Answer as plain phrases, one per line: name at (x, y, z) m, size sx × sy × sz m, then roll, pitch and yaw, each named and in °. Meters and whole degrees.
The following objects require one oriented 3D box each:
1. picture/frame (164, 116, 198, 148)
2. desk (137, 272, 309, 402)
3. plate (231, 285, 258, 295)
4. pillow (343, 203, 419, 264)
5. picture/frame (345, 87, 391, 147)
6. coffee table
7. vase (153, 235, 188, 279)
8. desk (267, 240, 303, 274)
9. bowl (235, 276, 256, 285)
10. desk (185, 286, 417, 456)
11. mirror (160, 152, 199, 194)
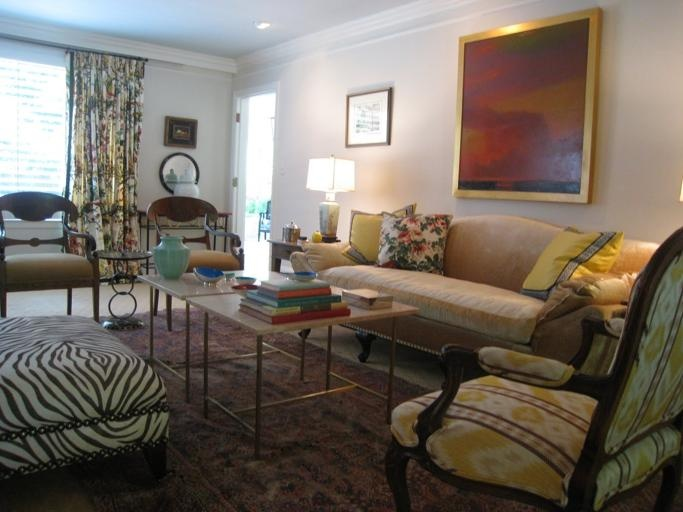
picture/frame at (-1.989, -1.529, 6.318) m, size 0.417 × 0.385 × 0.041 m, roll -4°, pitch 8°, yaw -39°
desk at (-0.723, 0.293, 3.028) m, size 0.752 × 0.716 × 0.736 m, roll -4°, pitch 10°, yaw -39°
plate at (-0.506, 0.167, 2.637) m, size 0.096 × 0.027 × 0.098 m, roll 1°, pitch 1°, yaw 35°
pillow at (0.327, -0.169, 4.062) m, size 0.523 × 0.539 × 0.185 m, roll 1°, pitch -21°, yaw 41°
picture/frame at (0.266, -1.317, 4.848) m, size 0.591 × 0.556 × 0.060 m, roll 6°, pitch 6°, yaw 44°
coffee table at (-1.902, 0.298, 4.416) m, size 0.598 × 0.725 × 0.620 m, roll 0°, pitch 4°, yaw -32°
vase at (-0.934, 0.001, 2.935) m, size 0.220 × 0.252 × 0.217 m, roll -2°, pitch 11°, yaw -13°
desk at (-0.566, -0.031, 4.908) m, size 0.308 × 0.376 × 0.391 m, roll -3°, pitch 7°, yaw -40°
bowl at (-0.513, 0.128, 2.768) m, size 0.098 × 0.035 × 0.176 m, roll 0°, pitch 11°, yaw -13°
desk at (-0.185, 0.561, 2.595) m, size 0.853 × 0.577 × 0.968 m, roll 2°, pitch 0°, yaw 44°
mirror at (-2.008, -1.017, 6.304) m, size 0.545 × 0.629 × 0.243 m, roll -2°, pitch 0°, yaw -38°
